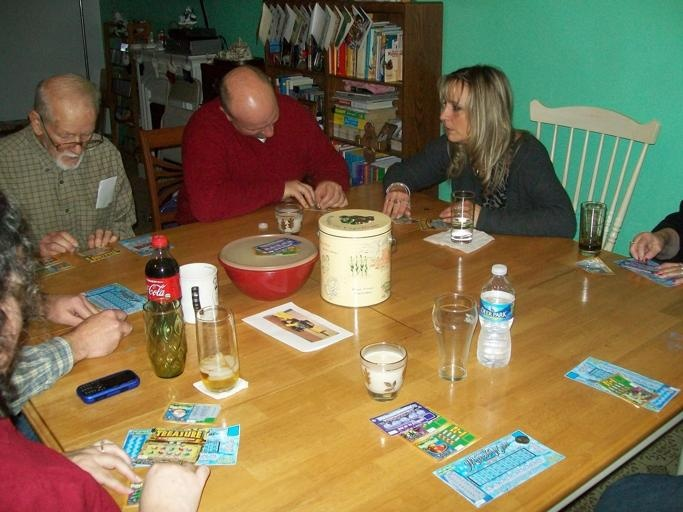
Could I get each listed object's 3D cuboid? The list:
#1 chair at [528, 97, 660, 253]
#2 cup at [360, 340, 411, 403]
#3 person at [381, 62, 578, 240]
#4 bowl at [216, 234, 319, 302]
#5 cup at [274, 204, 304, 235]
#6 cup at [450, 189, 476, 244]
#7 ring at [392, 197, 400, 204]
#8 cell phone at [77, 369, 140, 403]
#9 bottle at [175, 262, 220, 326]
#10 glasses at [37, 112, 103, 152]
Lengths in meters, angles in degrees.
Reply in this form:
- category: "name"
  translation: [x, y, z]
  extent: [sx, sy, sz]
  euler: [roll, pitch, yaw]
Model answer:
- category: "chair"
  translation: [1.337, -0.432, 2.578]
  extent: [0.496, 0.803, 0.578]
  euler: [32, 59, 30]
- category: "cup"
  translation: [0.105, 0.294, 1.252]
  extent: [0.133, 0.102, 0.113]
  euler: [-7, 15, -34]
- category: "person"
  translation: [0.767, -0.585, 2.623]
  extent: [0.722, 1.054, 0.778]
  euler: [-19, 40, -14]
- category: "bowl"
  translation: [-0.256, 0.038, 1.731]
  extent: [0.351, 0.137, 0.339]
  euler: [1, 22, 0]
- category: "cup"
  translation: [-0.210, -0.158, 2.112]
  extent: [0.123, 0.127, 0.118]
  euler: [0, 30, 0]
- category: "cup"
  translation: [0.498, -0.147, 2.081]
  extent: [0.106, 0.192, 0.111]
  euler: [0, 0, 0]
- category: "ring"
  translation: [0.253, -0.262, 2.305]
  extent: [0.027, 0.006, 0.024]
  euler: [1, 57, 15]
- category: "cell phone"
  translation: [-0.603, 0.331, 1.282]
  extent: [0.120, 0.021, 0.065]
  euler: [-14, 23, -35]
- category: "bottle"
  translation: [-0.452, 0.116, 1.538]
  extent: [0.134, 0.141, 0.138]
  euler: [18, 25, 41]
- category: "glasses"
  translation: [-1.245, -0.583, 2.262]
  extent: [0.191, 0.194, 0.055]
  euler: [-16, 53, -7]
